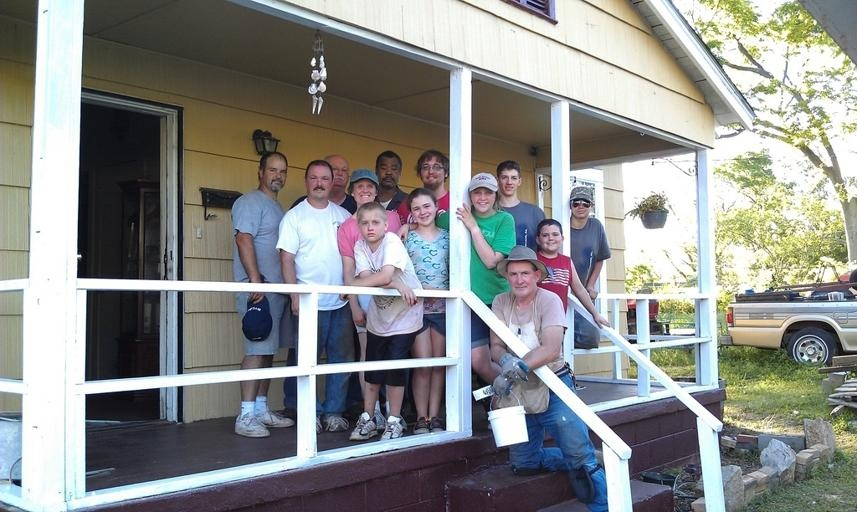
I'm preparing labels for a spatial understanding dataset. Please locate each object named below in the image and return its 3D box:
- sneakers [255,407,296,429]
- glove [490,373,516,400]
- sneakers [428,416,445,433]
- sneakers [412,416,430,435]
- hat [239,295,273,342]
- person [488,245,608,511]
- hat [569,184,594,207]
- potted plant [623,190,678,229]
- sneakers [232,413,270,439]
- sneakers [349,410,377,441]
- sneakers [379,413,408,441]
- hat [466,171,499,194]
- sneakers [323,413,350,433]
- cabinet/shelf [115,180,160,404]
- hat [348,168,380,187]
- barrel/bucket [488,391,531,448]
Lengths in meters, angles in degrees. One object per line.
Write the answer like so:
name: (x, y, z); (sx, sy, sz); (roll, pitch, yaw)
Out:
sneakers: (-1.492, 1.594, 6.640); (0.421, 0.166, 0.142); (5, -2, -13)
glove: (0.601, 1.081, 5.574); (0.091, 0.161, 0.217); (6, -8, -10)
sneakers: (0.083, 1.555, 6.354); (0.135, 0.121, 0.418); (-3, -2, 8)
sneakers: (-0.074, 1.545, 6.177); (0.150, 0.123, 0.186); (-3, -2, -1)
hat: (-1.599, 0.561, 6.197); (0.259, 0.415, 0.164); (-7, -3, -3)
person: (0.988, 1.049, 5.882); (0.911, 2.300, 0.708); (-3, -2, 5)
hat: (1.754, -0.729, 7.801); (0.245, 0.169, 0.329); (4, -11, 11)
potted plant: (3.683, -0.755, 11.410); (0.652, 0.488, 0.696); (-2, -1, -42)
sneakers: (-1.644, 1.571, 6.267); (0.346, 0.148, 0.171); (1, -2, 26)
sneakers: (-0.578, 1.530, 6.125); (0.158, 0.229, 0.372); (-4, -2, 26)
sneakers: (-0.332, 1.530, 6.032); (0.163, 0.187, 0.318); (-4, -2, 21)
hat: (0.510, -0.710, 6.501); (0.247, 0.182, 0.394); (1, -3, 2)
sneakers: (-0.909, 1.593, 6.517); (0.248, 0.145, 0.335); (-3, -2, -9)
cabinet/shelf: (-3.762, 0.182, 8.814); (0.489, 2.523, 0.812); (9, 14, 6)
hat: (-0.659, -0.792, 6.849); (0.378, 0.173, 0.516); (2, 0, -8)
barrel/bucket: (0.600, 1.381, 5.726); (0.386, 0.507, 0.321); (-5, -23, -6)
